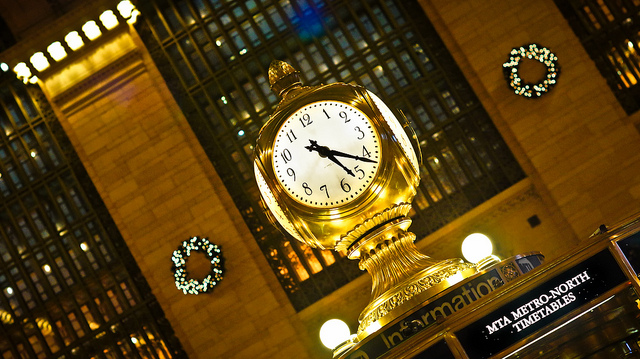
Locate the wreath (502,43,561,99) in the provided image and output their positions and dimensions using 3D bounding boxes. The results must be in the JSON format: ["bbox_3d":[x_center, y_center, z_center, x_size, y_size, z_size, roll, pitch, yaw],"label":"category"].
[{"bbox_3d":[6.120,-3.106,38.744,1.621,1.531,0.331,-9,3,6],"label":"wreath"}]

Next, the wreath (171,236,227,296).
[{"bbox_3d":[-3.427,2.456,38.599,1.700,1.599,0.382,2,2,6],"label":"wreath"}]

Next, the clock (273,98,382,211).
[{"bbox_3d":[0.267,-0.514,31.823,1.923,1.972,0.144,-49,-4,9],"label":"clock"}]

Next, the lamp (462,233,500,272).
[{"bbox_3d":[3.989,1.744,33.300,0.798,0.826,0.770,-28,0,-4],"label":"lamp"}]
